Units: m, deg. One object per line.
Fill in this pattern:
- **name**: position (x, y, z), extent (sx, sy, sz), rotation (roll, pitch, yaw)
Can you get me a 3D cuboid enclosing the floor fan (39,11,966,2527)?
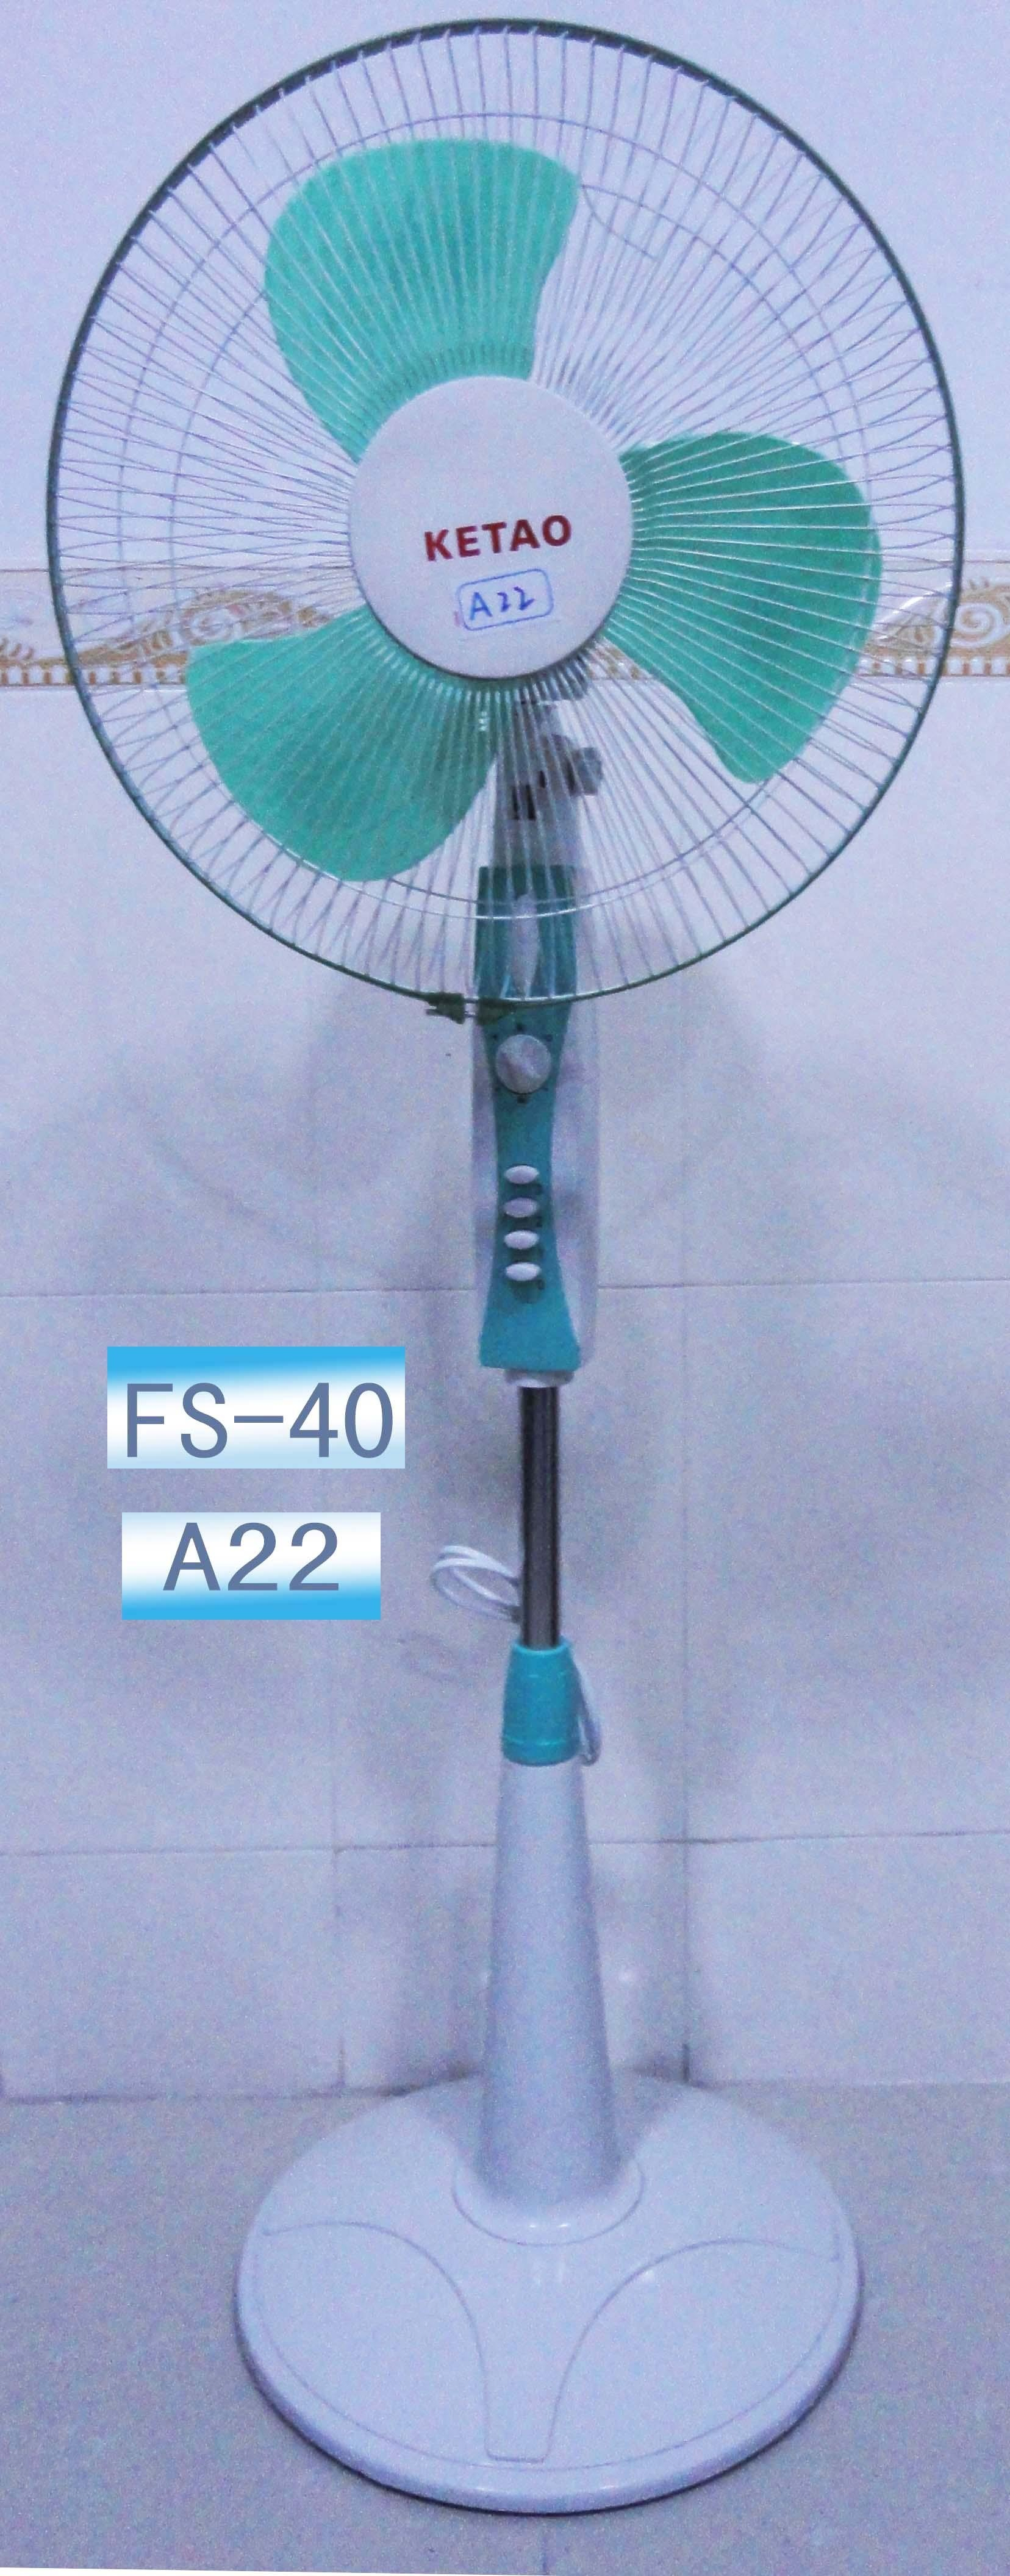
- **floor fan**: position (0.019, -0.005, 1.087), extent (0.337, 1.166, 0.338), rotation (0, 15, 5)
